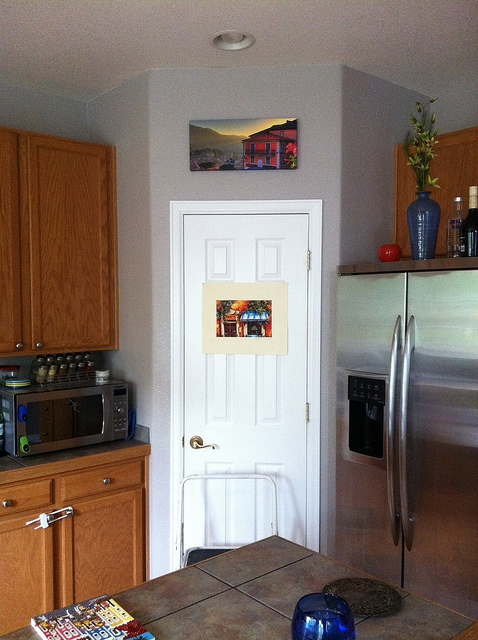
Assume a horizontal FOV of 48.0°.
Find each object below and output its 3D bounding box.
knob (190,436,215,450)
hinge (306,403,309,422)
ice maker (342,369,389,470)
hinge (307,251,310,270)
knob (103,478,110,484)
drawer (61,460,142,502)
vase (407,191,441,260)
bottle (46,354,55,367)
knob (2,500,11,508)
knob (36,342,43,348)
[{"bbox_3d":[-0.180,0.595,2.608,0.050,0.064,0.119,0,-1,-37],"label":"knob"},{"bbox_3d":[0.323,0.443,2.566,0.009,0.088,0.007,2,-2,8],"label":"hinge"},{"bbox_3d":[0.546,0.411,2.192,0.212,0.357,0.195,2,-4,33],"label":"ice maker"},{"bbox_3d":[0.327,-0.283,2.549,0.012,0.083,0.007,1,-2,18],"label":"hinge"},{"bbox_3d":[-0.623,0.758,2.518,0.021,0.023,0.019,6,-1,-35],"label":"knob"},{"bbox_3d":[-0.661,0.755,2.507,0.281,0.063,0.250,-3,2,-41],"label":"drawer"},{"bbox_3d":[0.723,-0.376,2.141,0.120,0.279,0.101,1,-2,31],"label":"vase"},{"bbox_3d":[-0.984,0.211,2.799,0.056,0.088,0.051,0,-7,-11],"label":"bottle"},{"bbox_3d":[-0.946,0.754,2.185,0.030,0.033,0.016,3,-2,-42],"label":"knob"},{"bbox_3d":[-0.970,0.123,2.614,0.012,0.025,0.035,1,-2,23],"label":"knob"}]
